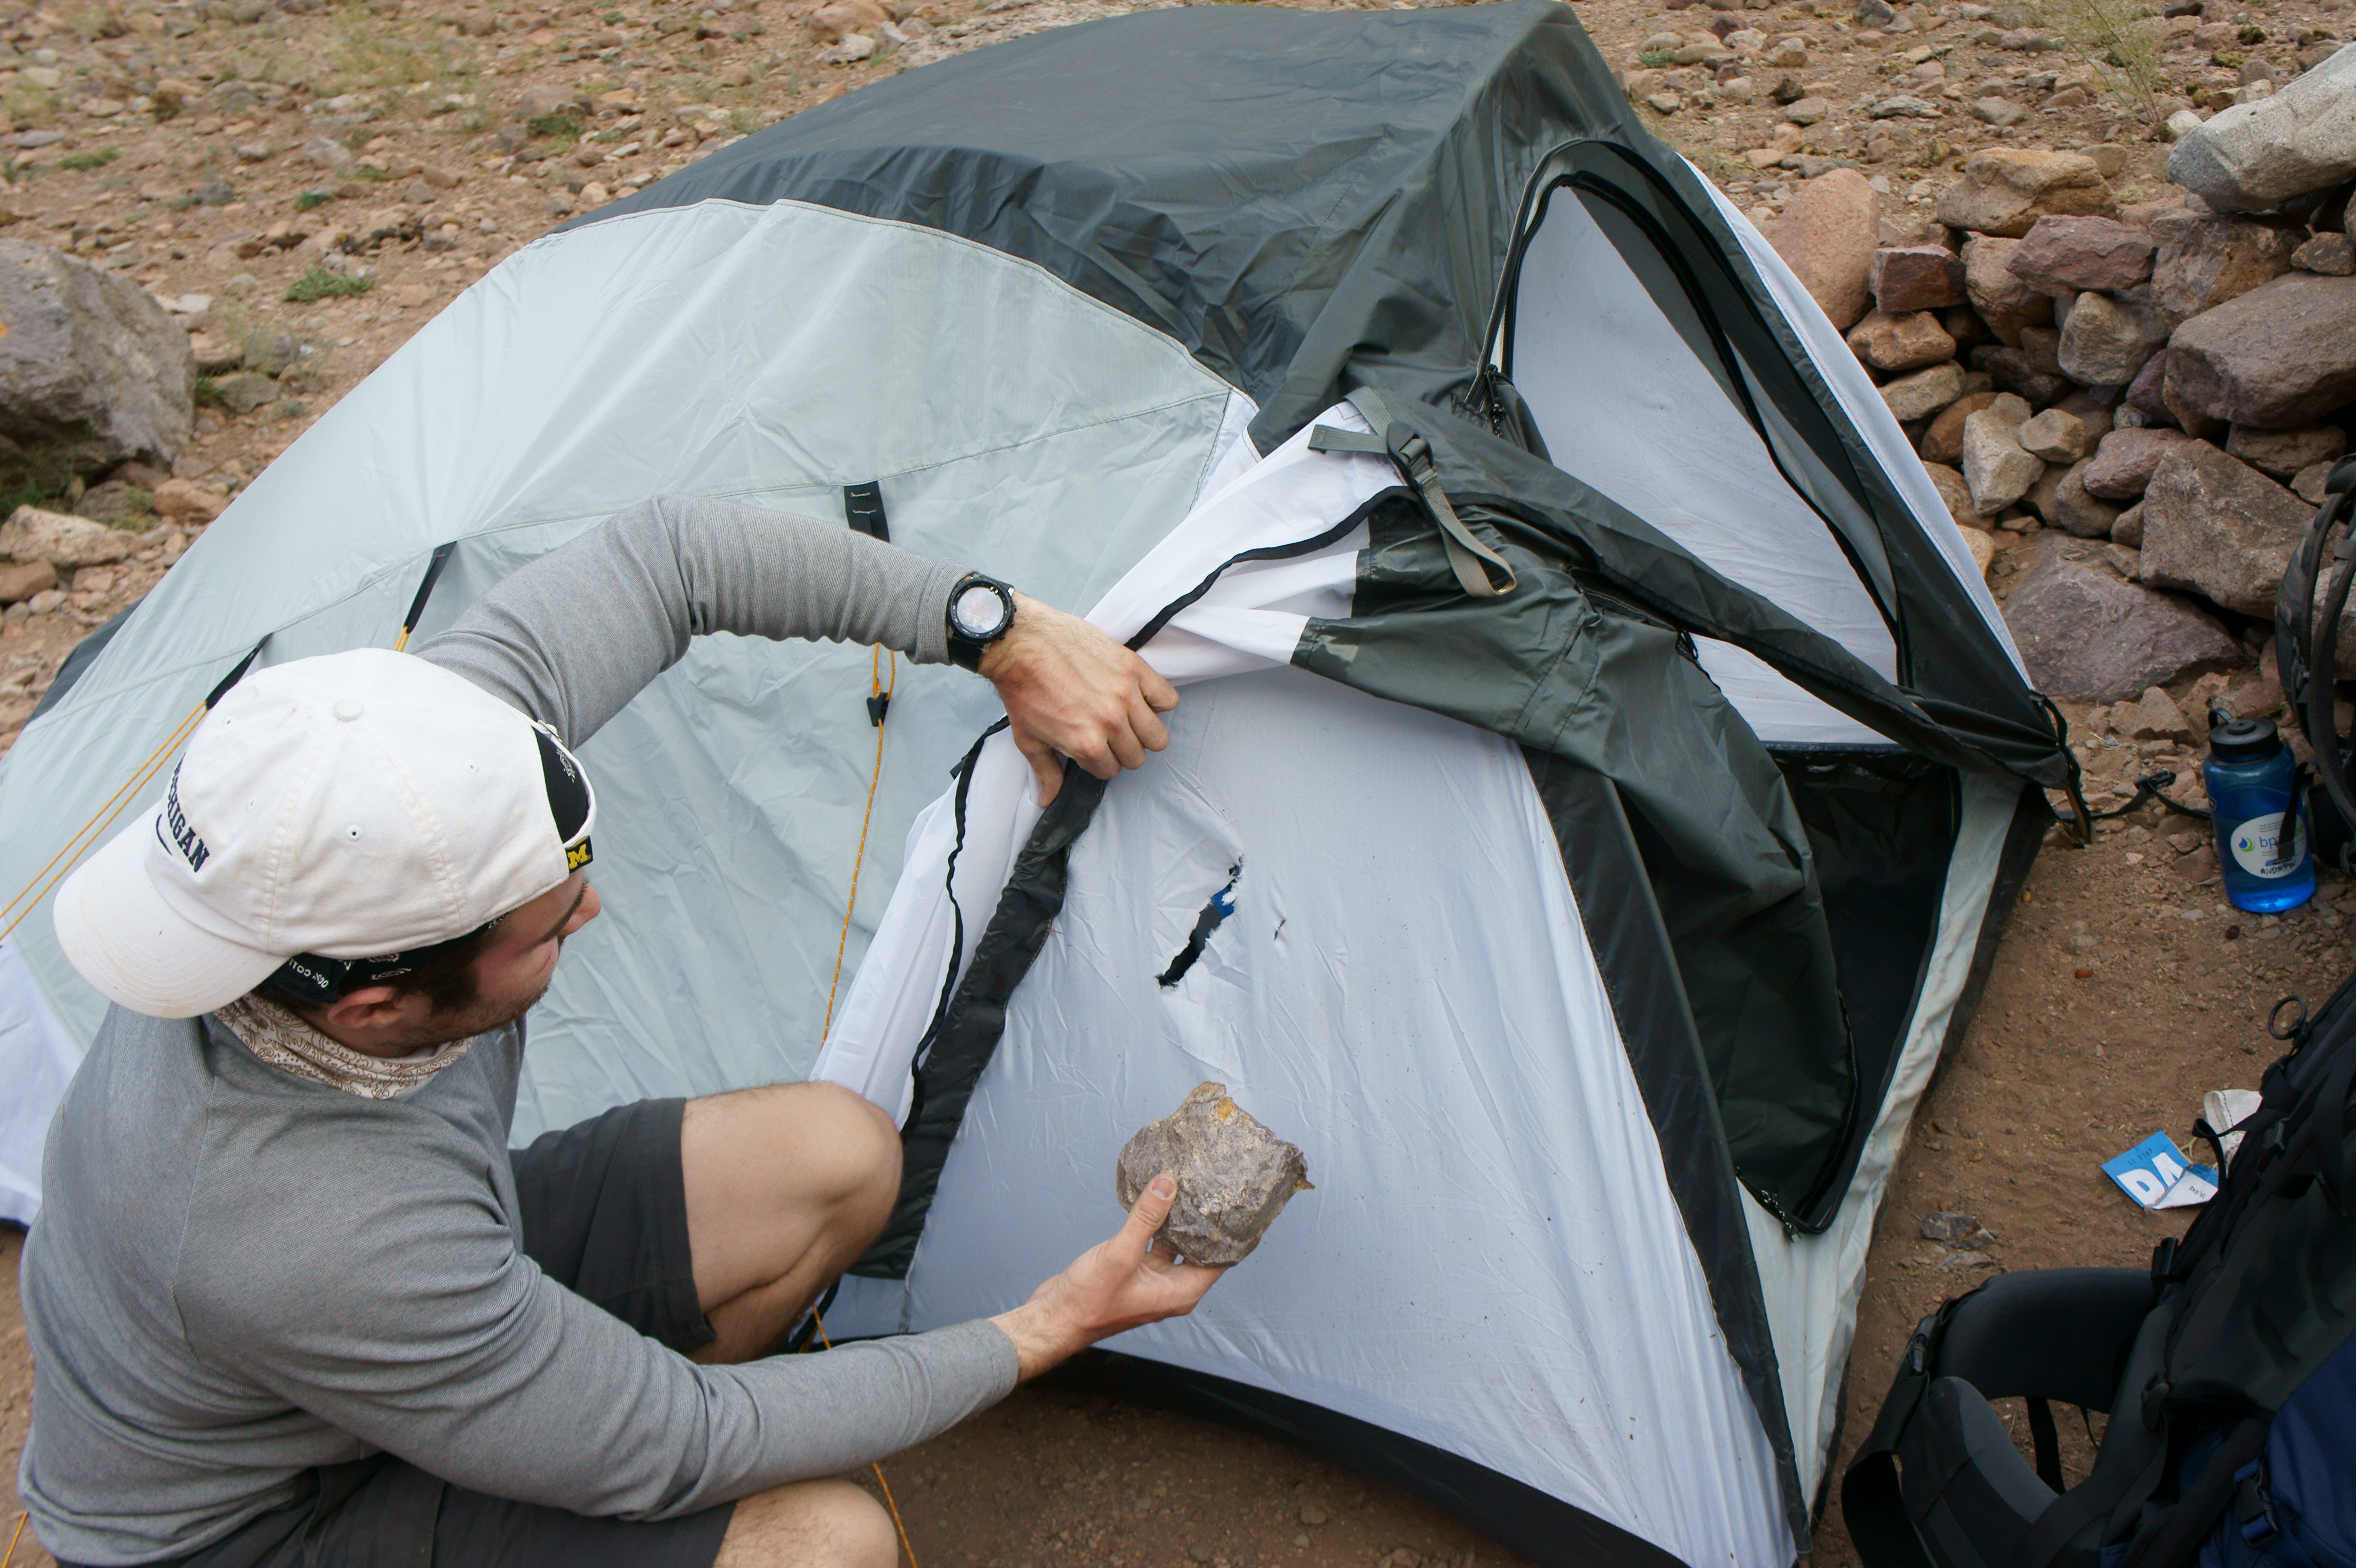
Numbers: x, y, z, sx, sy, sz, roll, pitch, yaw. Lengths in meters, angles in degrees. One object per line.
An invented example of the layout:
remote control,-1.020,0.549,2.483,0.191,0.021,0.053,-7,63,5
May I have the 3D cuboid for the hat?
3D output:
hat,-1.399,0.064,3.623,0.764,0.335,0.557,-21,77,-25
